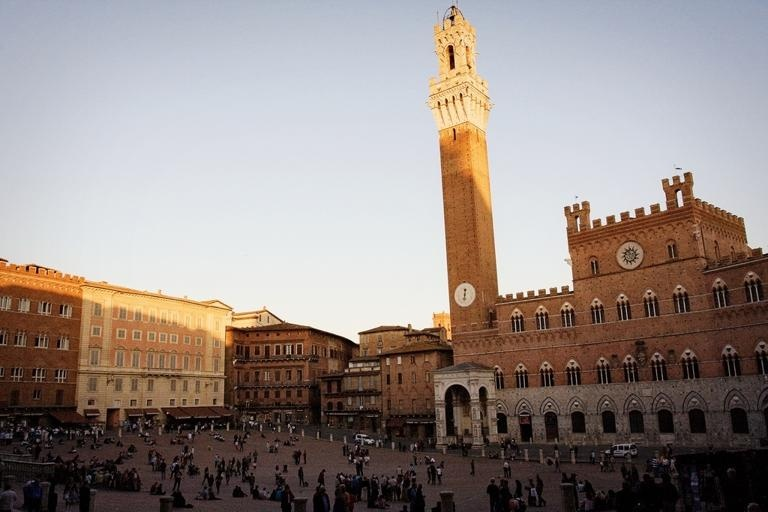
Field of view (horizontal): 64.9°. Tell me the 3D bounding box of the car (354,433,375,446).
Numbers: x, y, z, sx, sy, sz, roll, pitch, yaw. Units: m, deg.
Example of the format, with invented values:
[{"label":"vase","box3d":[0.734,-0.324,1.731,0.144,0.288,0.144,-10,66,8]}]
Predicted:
[{"label":"car","box3d":[-2.348,21.253,69.743,1.809,0.830,1.118,-16,-18,42]}]
